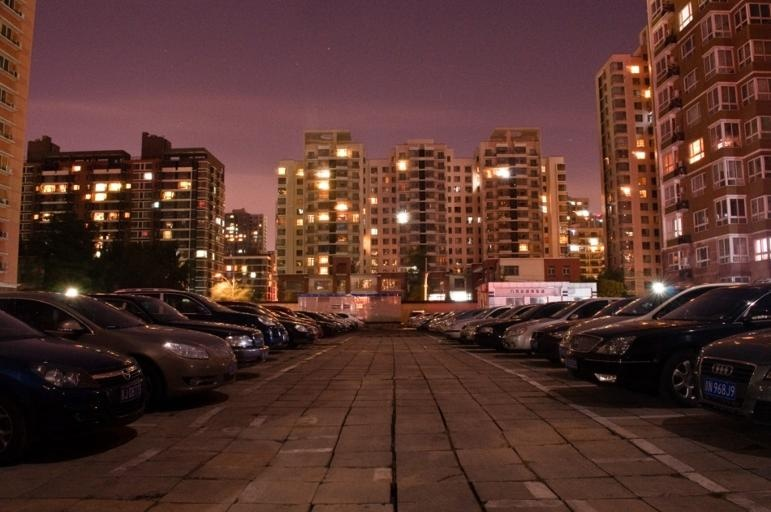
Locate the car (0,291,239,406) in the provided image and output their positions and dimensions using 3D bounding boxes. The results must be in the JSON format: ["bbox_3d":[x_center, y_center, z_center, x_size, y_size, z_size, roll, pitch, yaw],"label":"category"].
[{"bbox_3d":[-4.792,1.660,12.299,4.356,1.369,1.923,1,-4,2],"label":"car"}]
